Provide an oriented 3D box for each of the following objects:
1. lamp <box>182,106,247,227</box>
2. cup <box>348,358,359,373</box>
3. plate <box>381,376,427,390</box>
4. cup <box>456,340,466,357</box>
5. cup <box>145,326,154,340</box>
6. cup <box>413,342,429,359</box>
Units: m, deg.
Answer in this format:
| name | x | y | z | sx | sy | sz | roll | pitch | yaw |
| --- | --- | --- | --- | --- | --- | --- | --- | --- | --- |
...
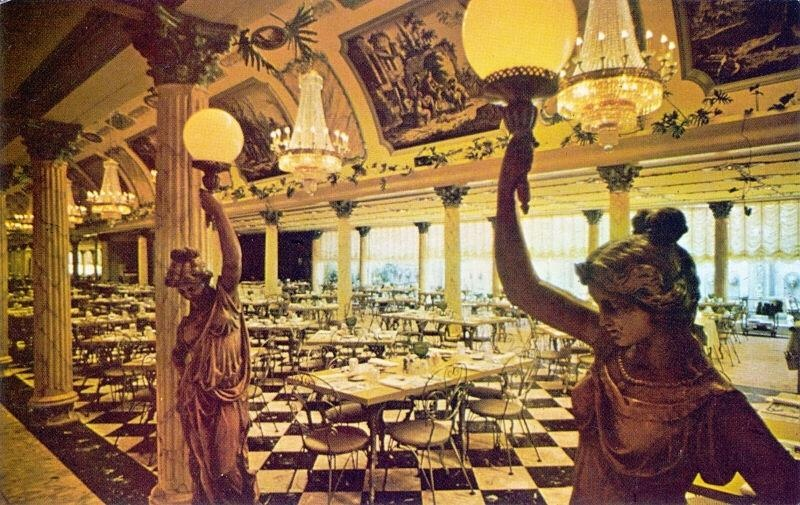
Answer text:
| name | x | y | z | sx | sy | sz | roll | pitch | yaw |
| --- | --- | --- | --- | --- | --- | --- | --- | --- | --- |
| lamp | -2.269 | -1.275 | 7.158 | 0.856 | 1.691 | 0.850 | -1 | 6 | -23 |
| cup | -0.669 | 1.689 | 8.802 | 0.184 | 0.282 | 0.192 | -1 | 2 | 0 |
| plate | 0.051 | 1.855 | 8.397 | 0.673 | 0.127 | 0.489 | -1 | -3 | -1 |
| cup | 1.021 | 1.584 | 9.682 | 0.192 | 0.284 | 0.190 | -1 | 4 | 0 |
| cup | -4.923 | 1.598 | 11.590 | 0.147 | 0.158 | 0.146 | 0 | -1 | 0 |
| cup | 0.313 | 1.490 | 8.960 | 0.214 | 0.254 | 0.212 | -1 | -3 | 0 |
